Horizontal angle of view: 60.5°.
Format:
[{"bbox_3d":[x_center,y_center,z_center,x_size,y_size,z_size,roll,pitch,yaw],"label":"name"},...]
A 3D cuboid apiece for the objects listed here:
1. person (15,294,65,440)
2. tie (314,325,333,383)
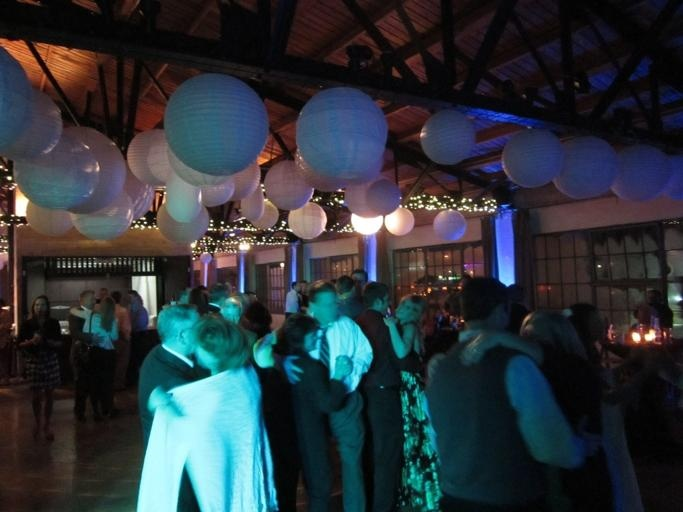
[{"bbox_3d":[-3.550,1.282,6.857,0.450,1.630,0.652,1,-5,-30],"label":"person"},{"bbox_3d":[-0.146,0.745,4.607,0.086,0.301,0.210,-8,-19,33],"label":"tie"}]
